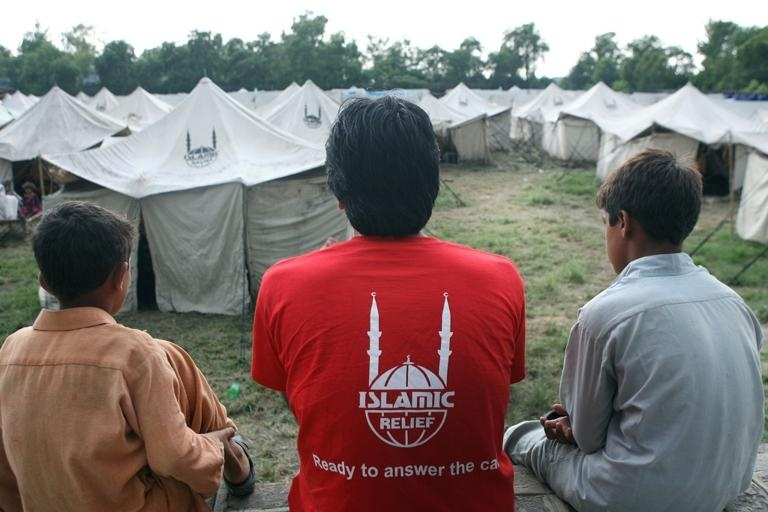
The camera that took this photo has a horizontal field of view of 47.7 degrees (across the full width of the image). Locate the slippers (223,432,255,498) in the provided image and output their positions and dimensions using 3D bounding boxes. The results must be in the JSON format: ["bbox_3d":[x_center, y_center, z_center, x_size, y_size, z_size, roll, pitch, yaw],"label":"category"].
[{"bbox_3d":[-1.357,1.906,8.162,0.221,0.665,0.284,-11,-2,20],"label":"slippers"}]
